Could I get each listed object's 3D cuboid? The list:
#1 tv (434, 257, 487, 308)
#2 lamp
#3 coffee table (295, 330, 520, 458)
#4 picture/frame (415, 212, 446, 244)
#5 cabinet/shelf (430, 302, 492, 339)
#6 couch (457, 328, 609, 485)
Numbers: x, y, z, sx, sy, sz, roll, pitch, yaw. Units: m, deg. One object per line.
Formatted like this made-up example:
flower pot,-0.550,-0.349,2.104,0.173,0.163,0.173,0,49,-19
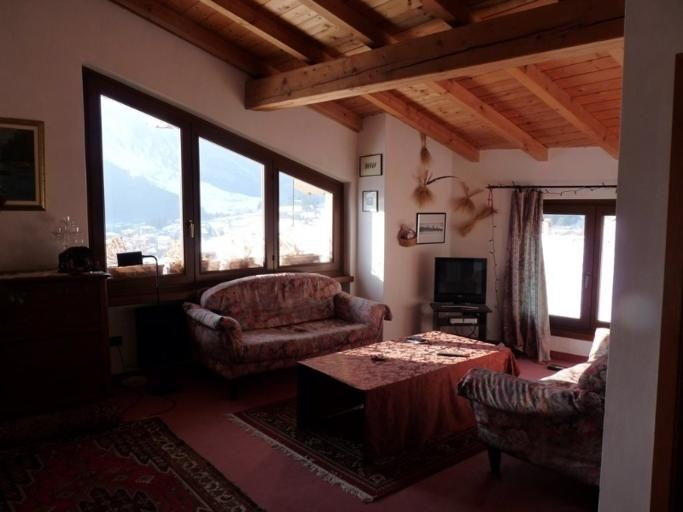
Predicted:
tv,1.493,0.312,6.435,0.667,0.619,0.352,0,6,6
lamp,-1.897,0.591,4.874,0.453,1.301,0.787,-2,10,-21
coffee table,0.362,0.850,4.131,1.229,0.426,0.815,-7,7,-39
picture/frame,1.147,-0.376,6.625,0.407,0.353,0.035,-5,7,-38
cabinet/shelf,1.476,0.880,6.279,0.651,0.494,0.474,1,8,10
couch,1.279,1.232,3.625,1.002,0.730,0.907,16,-5,-12
